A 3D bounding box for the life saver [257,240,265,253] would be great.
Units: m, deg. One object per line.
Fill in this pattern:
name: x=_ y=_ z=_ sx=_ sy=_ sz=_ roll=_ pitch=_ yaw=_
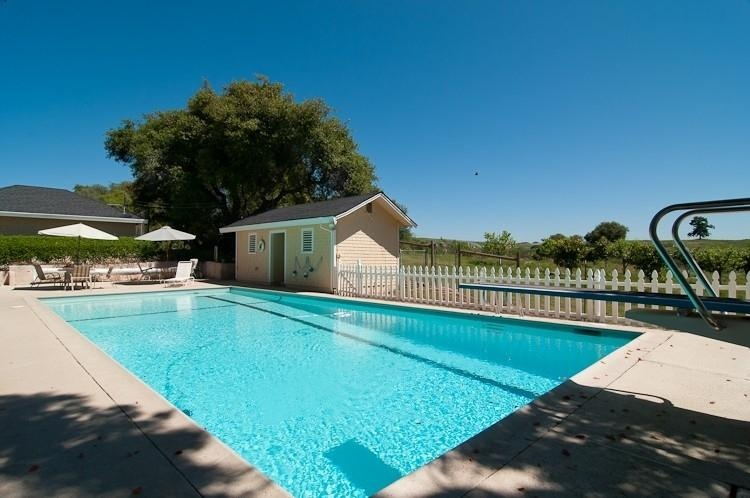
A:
life saver: x=-6.034 y=-0.148 z=23.496 sx=0.641 sy=0.668 sz=0.189 roll=-2 pitch=-2 yaw=43
